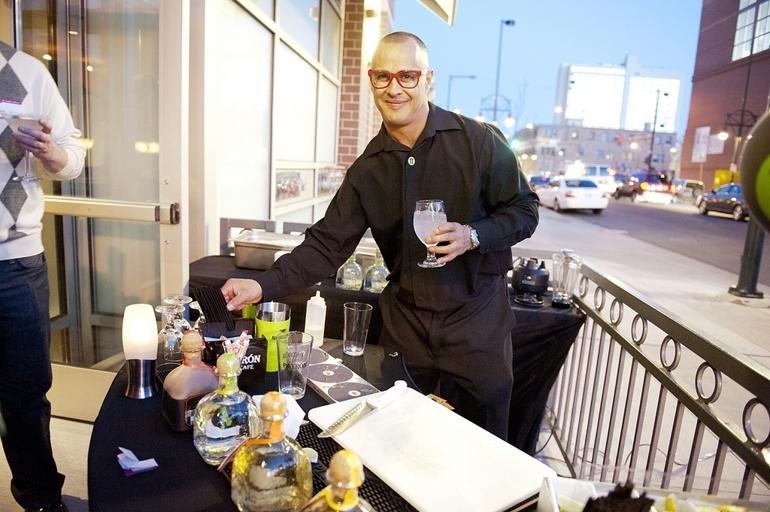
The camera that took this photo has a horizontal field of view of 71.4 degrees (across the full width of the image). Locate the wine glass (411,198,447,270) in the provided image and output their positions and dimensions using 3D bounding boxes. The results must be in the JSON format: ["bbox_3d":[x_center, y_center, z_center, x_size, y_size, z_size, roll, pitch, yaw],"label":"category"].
[{"bbox_3d":[0.193,-0.080,2.332,0.131,0.335,0.315,2,11,5],"label":"wine glass"}]

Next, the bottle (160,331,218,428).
[{"bbox_3d":[-0.677,0.430,1.908,0.214,0.328,0.212,4,13,-1],"label":"bottle"}]

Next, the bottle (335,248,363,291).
[{"bbox_3d":[-0.216,0.084,3.299,0.212,0.316,0.193,4,-8,-6],"label":"bottle"}]

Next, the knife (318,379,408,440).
[{"bbox_3d":[-0.072,0.538,1.852,0.109,0.042,0.418,6,14,34],"label":"knife"}]

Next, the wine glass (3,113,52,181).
[{"bbox_3d":[-1.608,-0.485,2.421,0.146,0.297,0.211,-8,14,-37],"label":"wine glass"}]

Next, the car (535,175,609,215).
[{"bbox_3d":[6.745,-2.160,19.333,1.800,1.394,2.652,3,11,11],"label":"car"}]

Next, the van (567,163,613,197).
[{"bbox_3d":[8.229,-3.229,22.409,1.420,1.370,2.492,1,13,-4],"label":"van"}]

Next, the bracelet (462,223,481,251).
[{"bbox_3d":[0.360,-0.079,2.311,0.049,0.104,0.126,9,14,35],"label":"bracelet"}]

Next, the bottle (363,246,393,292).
[{"bbox_3d":[-0.051,0.105,3.380,0.159,0.263,0.156,4,7,0],"label":"bottle"}]
